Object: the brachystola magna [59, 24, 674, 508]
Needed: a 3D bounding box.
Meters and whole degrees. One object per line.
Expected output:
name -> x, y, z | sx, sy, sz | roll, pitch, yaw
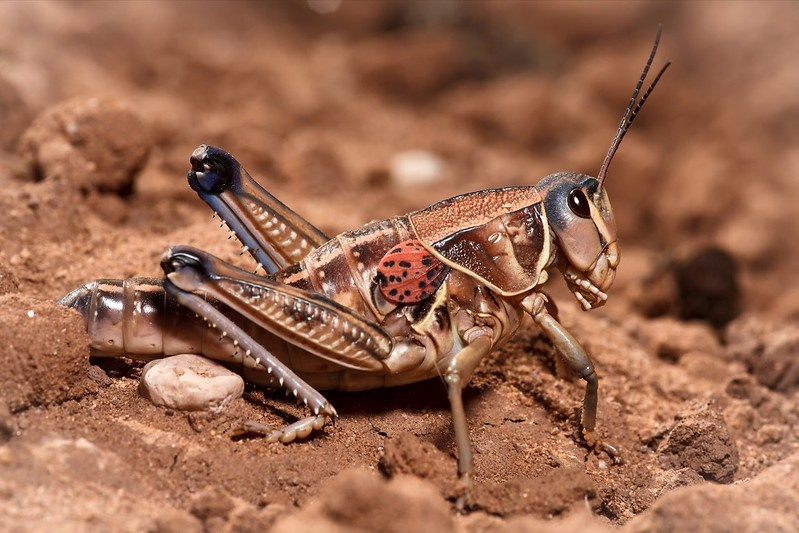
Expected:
brachystola magna -> -0.186, 0.167, 4.839 | 2.639, 1.424, 1.404 | 2, 52, -3
